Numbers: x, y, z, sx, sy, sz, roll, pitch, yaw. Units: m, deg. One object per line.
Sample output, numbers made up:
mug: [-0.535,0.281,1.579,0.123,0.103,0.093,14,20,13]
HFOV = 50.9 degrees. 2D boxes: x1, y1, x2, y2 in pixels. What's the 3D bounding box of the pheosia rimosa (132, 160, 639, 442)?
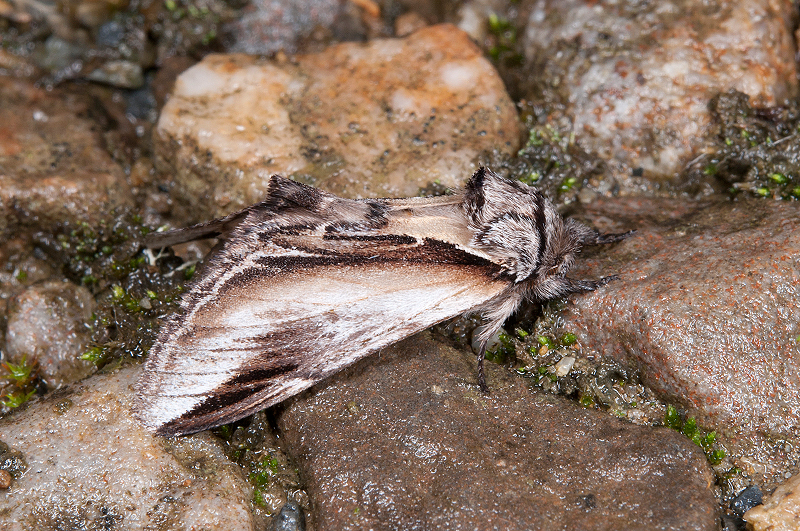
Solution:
pheosia rimosa: [-0.163,0.042,7.912,4.685,1.537,3.187,3,38,-8]
